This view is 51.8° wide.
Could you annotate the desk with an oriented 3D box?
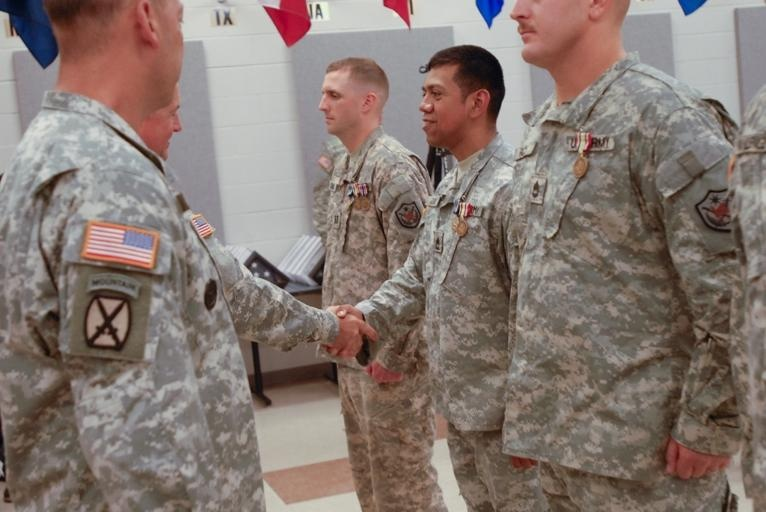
[{"bbox_3d":[-0.614,0.532,5.943,0.965,0.898,0.731,-3,7,-21],"label":"desk"}]
